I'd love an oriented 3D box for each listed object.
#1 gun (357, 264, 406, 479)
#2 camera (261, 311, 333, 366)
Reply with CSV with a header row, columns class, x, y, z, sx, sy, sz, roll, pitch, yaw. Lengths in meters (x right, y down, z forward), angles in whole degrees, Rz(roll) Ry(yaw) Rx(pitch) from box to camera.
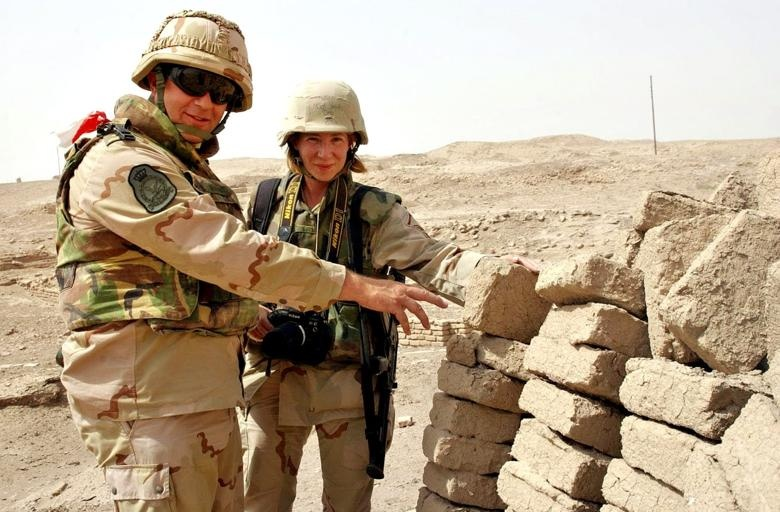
class,x,y,z,sx,sy,sz,roll,pitch,yaw
gun,-0.052,0.720,4.362,0.365,1.139,0.397,-3,12,-7
camera,-0.547,0.483,4.344,0.405,0.262,0.358,3,5,21
